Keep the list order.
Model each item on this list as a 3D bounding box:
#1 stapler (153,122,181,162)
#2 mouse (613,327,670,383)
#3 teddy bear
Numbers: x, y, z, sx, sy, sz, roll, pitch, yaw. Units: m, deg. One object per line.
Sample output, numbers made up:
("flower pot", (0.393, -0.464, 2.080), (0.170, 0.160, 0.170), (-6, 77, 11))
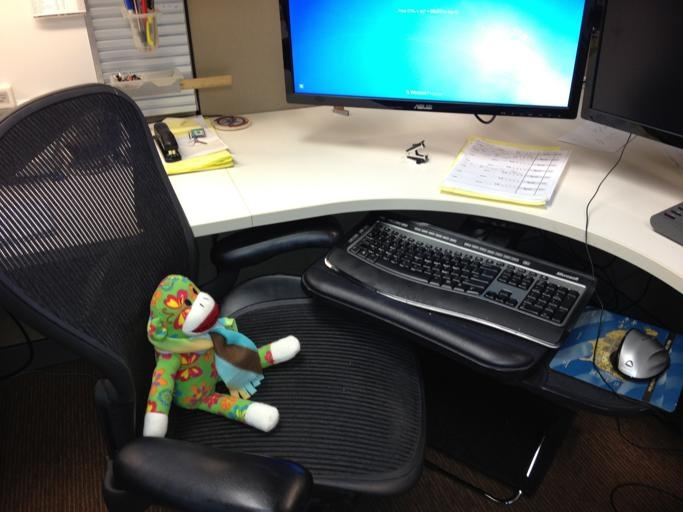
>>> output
("stapler", (-0.532, -0.360, 1.552), (0.050, 0.060, 0.228), (-11, 52, -22))
("mouse", (0.713, 0.225, 1.207), (0.154, 0.055, 0.108), (-19, 33, -28))
("teddy bear", (-0.223, 0.268, 1.148), (0.269, 0.289, 0.397), (-2, 42, 14))
